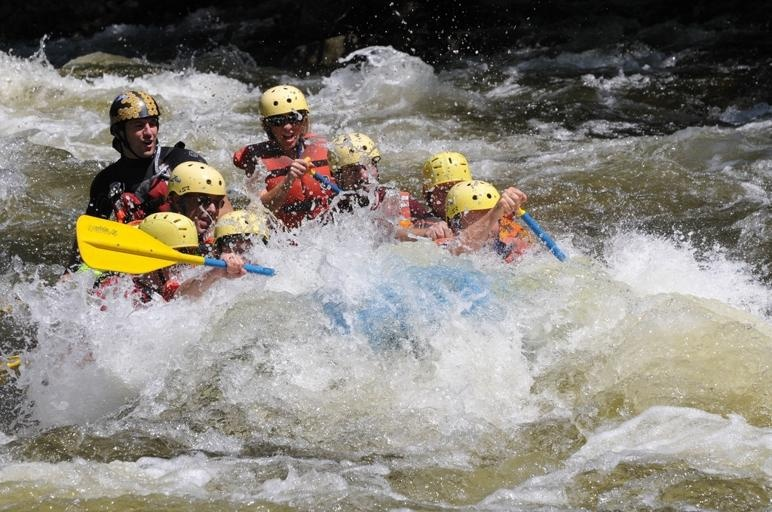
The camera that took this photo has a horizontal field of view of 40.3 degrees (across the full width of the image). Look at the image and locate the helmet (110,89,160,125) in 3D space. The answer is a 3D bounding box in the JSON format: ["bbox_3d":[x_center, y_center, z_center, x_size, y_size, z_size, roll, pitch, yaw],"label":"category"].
[{"bbox_3d":[-2.601,-1.529,11.020,0.549,0.464,0.571,-12,12,-11],"label":"helmet"}]

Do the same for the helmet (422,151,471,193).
[{"bbox_3d":[0.637,-0.891,11.075,0.451,0.467,0.578,-2,8,-4],"label":"helmet"}]

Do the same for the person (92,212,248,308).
[{"bbox_3d":[-1.988,-0.051,10.068,1.872,0.791,0.528,-7,18,38],"label":"person"}]

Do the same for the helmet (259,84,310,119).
[{"bbox_3d":[-1.134,-1.683,11.338,0.526,0.362,0.372,-3,22,8],"label":"helmet"}]

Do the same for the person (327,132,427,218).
[{"bbox_3d":[-0.161,-0.817,11.195,0.843,0.988,0.466,-28,4,14],"label":"person"}]

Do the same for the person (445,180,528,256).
[{"bbox_3d":[0.950,-0.446,10.381,0.832,0.588,0.637,9,22,27],"label":"person"}]

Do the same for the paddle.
[{"bbox_3d":[-1.968,0.008,10.299,2.211,0.548,0.107,12,-37,-41],"label":"paddle"}]

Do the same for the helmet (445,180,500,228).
[{"bbox_3d":[0.844,-0.571,10.386,0.530,0.391,0.392,-29,-4,36],"label":"helmet"}]

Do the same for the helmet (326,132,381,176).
[{"bbox_3d":[-0.334,-1.100,11.116,0.647,0.468,0.540,-2,12,19],"label":"helmet"}]

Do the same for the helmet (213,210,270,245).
[{"bbox_3d":[-1.352,-0.304,10.103,0.439,0.313,0.321,-16,-3,24],"label":"helmet"}]

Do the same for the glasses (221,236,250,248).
[{"bbox_3d":[-1.438,-0.137,10.026,0.190,0.068,0.145,1,-3,-39],"label":"glasses"}]

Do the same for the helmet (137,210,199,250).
[{"bbox_3d":[-2.103,-0.291,10.067,0.653,0.340,0.523,2,16,37],"label":"helmet"}]
